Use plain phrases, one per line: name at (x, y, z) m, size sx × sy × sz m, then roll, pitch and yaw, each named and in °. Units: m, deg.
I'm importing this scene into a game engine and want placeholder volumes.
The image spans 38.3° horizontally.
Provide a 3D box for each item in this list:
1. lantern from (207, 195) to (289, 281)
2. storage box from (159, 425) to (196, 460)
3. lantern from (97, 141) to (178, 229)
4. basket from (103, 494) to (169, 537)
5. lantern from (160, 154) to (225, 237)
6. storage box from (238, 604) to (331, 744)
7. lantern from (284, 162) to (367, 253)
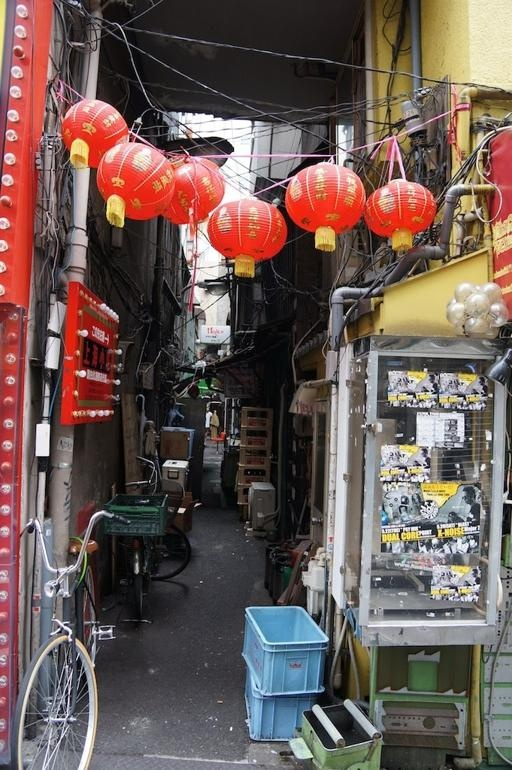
lantern at (-0.073, -1.012, 5.117) m, size 0.492 × 0.606 × 0.537 m, roll 8°, pitch 12°, yaw 25°
storage box at (-1.469, 1.048, 13.354) m, size 0.598 × 0.642 × 0.621 m, roll 0°, pitch 0°, yaw 8°
lantern at (-0.752, -1.273, 4.646) m, size 0.490 × 0.586 × 0.359 m, roll 0°, pitch 1°, yaw -13°
basket at (-1.197, 1.303, 7.699) m, size 0.640 × 0.384 × 0.911 m, roll 2°, pitch 5°, yaw -1°
lantern at (-0.407, -1.279, 5.162) m, size 0.423 × 0.529 × 0.490 m, roll -7°, pitch 2°, yaw 4°
storage box at (0.200, 2.343, 5.636) m, size 0.618 × 0.790 × 1.078 m, roll 1°, pitch -2°, yaw -5°
lantern at (0.448, -1.174, 4.975) m, size 0.508 × 0.665 × 0.570 m, roll 0°, pitch 0°, yaw -9°
